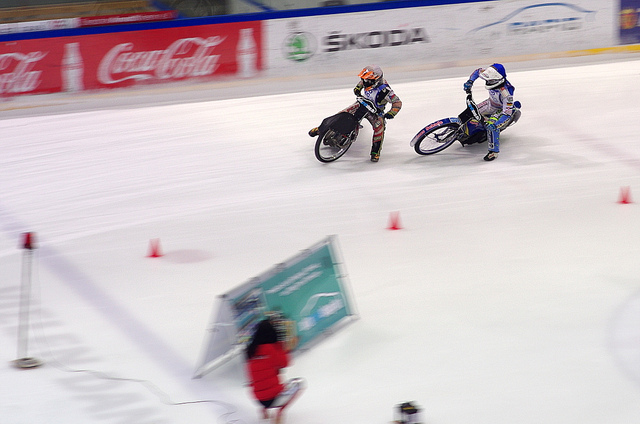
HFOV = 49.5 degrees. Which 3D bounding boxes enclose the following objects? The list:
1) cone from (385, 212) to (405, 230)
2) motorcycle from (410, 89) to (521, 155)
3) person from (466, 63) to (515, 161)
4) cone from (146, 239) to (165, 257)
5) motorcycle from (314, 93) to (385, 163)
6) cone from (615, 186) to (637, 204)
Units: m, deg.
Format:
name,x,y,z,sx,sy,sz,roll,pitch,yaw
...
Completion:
name,x,y,z,sx,sy,sz,roll,pitch,yaw
cone,1.270,0.139,11.974,0.421,0.273,0.289,0,-5,-5
motorcycle,3.002,-1.795,13.831,2.504,1.060,0.986,-14,45,-30
person,3.285,-1.921,13.388,0.820,1.832,0.533,-2,21,17
cone,-2.746,0.584,11.512,0.440,0.324,0.279,-1,-4,-13
motorcycle,0.500,-1.652,13.620,1.298,1.325,0.840,-5,18,3
cone,5.298,-0.312,12.108,0.452,0.297,0.298,0,-1,12
